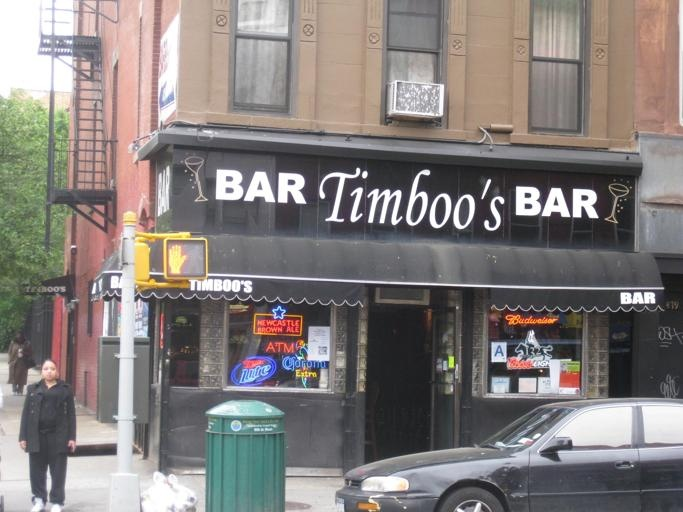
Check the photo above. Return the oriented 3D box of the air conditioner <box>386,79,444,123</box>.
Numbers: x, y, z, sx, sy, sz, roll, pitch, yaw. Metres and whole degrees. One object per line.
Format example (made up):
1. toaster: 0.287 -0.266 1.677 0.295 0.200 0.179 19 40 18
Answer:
1. air conditioner: 1.443 -2.974 26.206 0.973 0.691 0.577 4 -9 -9

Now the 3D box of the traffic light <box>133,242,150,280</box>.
1. traffic light: -3.308 0.107 22.201 0.270 0.616 0.151 3 -8 -23

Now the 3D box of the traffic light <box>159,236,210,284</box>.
1. traffic light: -2.575 0.041 22.066 0.656 0.669 0.183 -1 -7 4
